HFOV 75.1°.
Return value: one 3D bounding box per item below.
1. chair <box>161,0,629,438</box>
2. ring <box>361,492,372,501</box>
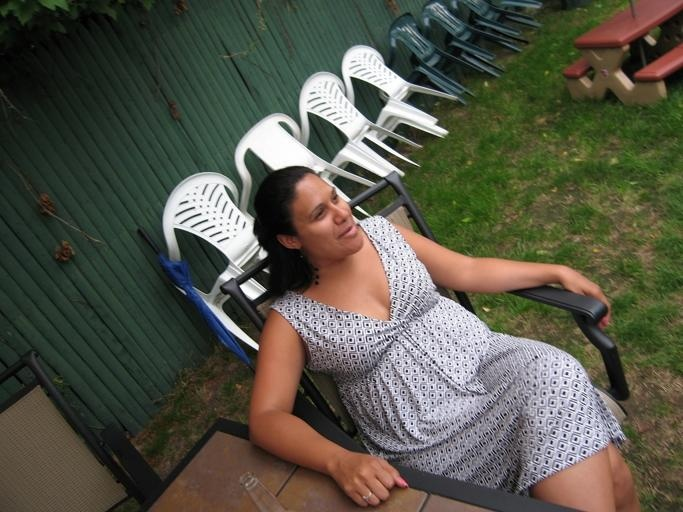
[{"bbox_3d":[-0.057,0.111,3.354,1.952,1.724,3.183,-43,65,-8],"label":"chair"},{"bbox_3d":[0.091,0.855,1.566,0.023,0.033,0.028,-22,41,-29],"label":"ring"}]
